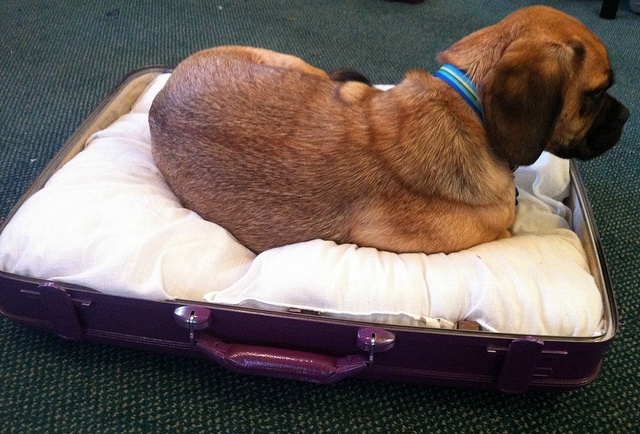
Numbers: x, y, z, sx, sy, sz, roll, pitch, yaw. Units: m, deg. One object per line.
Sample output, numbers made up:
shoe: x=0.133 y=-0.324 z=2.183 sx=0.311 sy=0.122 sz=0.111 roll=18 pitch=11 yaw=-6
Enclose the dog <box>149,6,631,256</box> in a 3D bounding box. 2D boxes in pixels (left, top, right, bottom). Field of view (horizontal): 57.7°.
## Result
dog: x=0.230 y=-0.246 z=2.274 sx=1.511 sy=0.676 sz=0.900 roll=-2 pitch=48 yaw=-2
